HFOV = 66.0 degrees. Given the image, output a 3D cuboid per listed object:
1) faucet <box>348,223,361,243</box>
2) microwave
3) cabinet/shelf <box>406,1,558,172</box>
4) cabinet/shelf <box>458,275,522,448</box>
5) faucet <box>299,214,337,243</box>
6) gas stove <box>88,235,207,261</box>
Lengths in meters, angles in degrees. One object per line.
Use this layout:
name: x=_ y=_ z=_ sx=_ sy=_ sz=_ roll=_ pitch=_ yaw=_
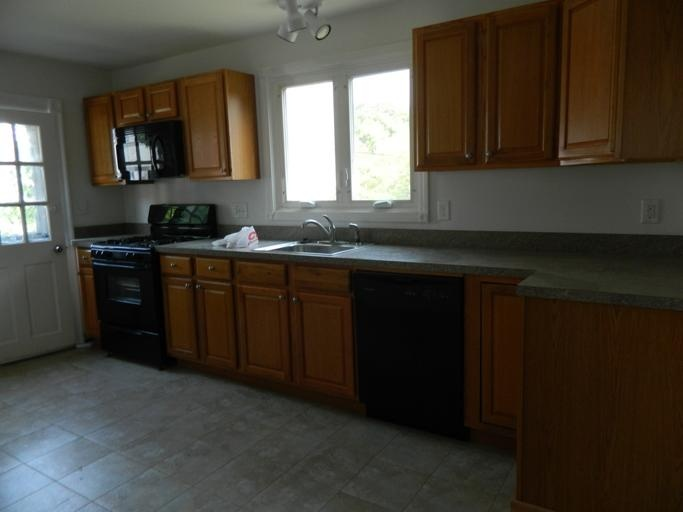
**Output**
faucet: x=0.103 y=-0.175 z=3.901 sx=0.083 sy=0.152 sz=0.151 roll=-2 pitch=14 yaw=2
microwave: x=-1.675 y=-0.893 z=4.559 sx=0.788 sy=0.535 sz=0.163 roll=8 pitch=17 yaw=34
cabinet/shelf: x=0.871 y=-0.994 z=3.142 sx=1.046 sy=0.990 sz=0.519 roll=3 pitch=5 yaw=31
cabinet/shelf: x=0.840 y=0.600 z=2.968 sx=0.311 sy=0.980 sz=0.175 roll=2 pitch=14 yaw=16
faucet: x=-0.175 y=-0.209 z=4.009 sx=0.261 sy=0.225 sz=0.380 roll=-3 pitch=14 yaw=-4
gas stove: x=-1.695 y=-0.095 z=4.546 sx=0.928 sy=0.163 sz=0.625 roll=8 pitch=17 yaw=34
